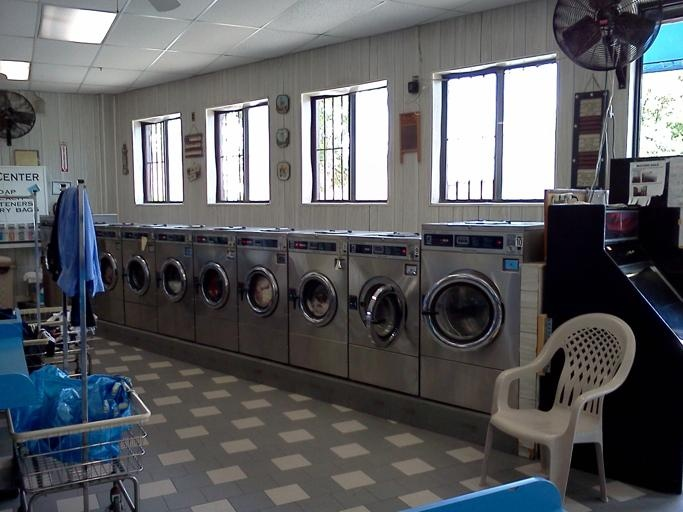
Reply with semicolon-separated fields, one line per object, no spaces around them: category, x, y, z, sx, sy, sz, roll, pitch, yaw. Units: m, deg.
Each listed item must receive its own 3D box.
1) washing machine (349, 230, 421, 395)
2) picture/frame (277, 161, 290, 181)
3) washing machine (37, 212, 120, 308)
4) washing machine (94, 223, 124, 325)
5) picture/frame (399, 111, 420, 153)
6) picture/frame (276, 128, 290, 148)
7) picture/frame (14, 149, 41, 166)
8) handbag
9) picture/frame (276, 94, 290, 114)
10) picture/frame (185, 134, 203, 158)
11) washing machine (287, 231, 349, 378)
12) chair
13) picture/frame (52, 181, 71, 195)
washing machine;0.316;0.476;4.194;0.715;1.270;0.238;6;9;44
picture/frame;-0.736;-1.093;6.428;0.230;0.339;0.050;0;0;39
washing machine;-4.281;0.067;7.853;0.678;1.201;0.749;0;-7;-8
washing machine;-3.062;0.227;6.676;0.275;1.279;0.734;-6;8;-36
picture/frame;0.718;-1.284;5.359;0.252;0.464;0.043;4;13;30
picture/frame;-0.756;-1.496;6.405;0.241;0.263;0.056;6;10;44
picture/frame;-5.224;-1.640;8.373;0.270;0.255;0.028;-2;1;-43
handbag;-1.332;0.754;2.505;0.501;0.270;0.397;16;22;39
picture/frame;-0.733;-1.916;6.349;0.225;0.254;0.031;5;6;42
picture/frame;-2.169;-1.635;7.449;0.333;0.375;0.038;3;3;40
washing machine;-0.096;0.382;4.947;0.747;1.276;0.863;1;6;7
chair;1.294;0.944;3.120;0.758;1.177;0.823;4;1;27
picture/frame;-4.789;-1.167;8.668;0.324;0.237;0.209;-6;9;-37
